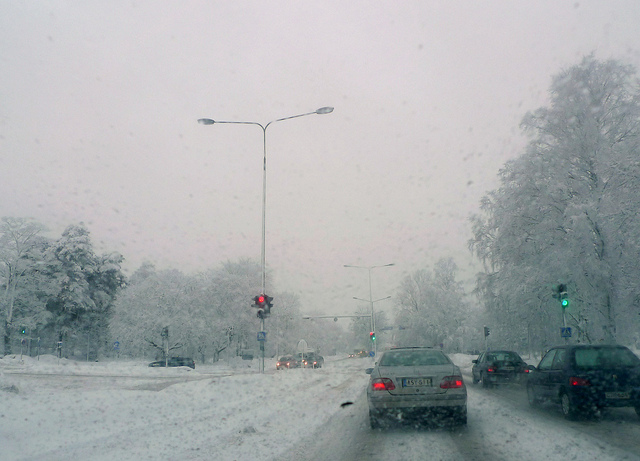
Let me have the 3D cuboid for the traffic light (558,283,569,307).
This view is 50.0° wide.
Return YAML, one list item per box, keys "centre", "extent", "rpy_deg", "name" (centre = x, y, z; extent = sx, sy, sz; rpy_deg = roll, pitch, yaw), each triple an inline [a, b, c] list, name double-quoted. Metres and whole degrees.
- centre: [12.541, 3.336, 35.240]
  extent: [0.556, 1.190, 0.613]
  rpy_deg: [4, -27, 6]
  name: "traffic light"

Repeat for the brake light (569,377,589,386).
- centre: [9.370, 5.454, 24.812]
  extent: [0.655, 0.307, 0.114]
  rpy_deg: [-1, 0, 21]
  name: "brake light"

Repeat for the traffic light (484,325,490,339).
- centre: [11.032, 6.523, 45.287]
  extent: [0.325, 0.754, 1.589]
  rpy_deg: [0, -1, 13]
  name: "traffic light"

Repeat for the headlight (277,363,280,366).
- centre: [-3.250, 10.485, 53.941]
  extent: [0.218, 0.135, 0.235]
  rpy_deg: [-6, -12, 29]
  name: "headlight"

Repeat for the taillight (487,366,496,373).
- centre: [7.926, 6.398, 31.752]
  extent: [0.234, 0.252, 0.173]
  rpy_deg: [4, -3, 5]
  name: "taillight"

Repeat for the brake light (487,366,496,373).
- centre: [7.943, 6.413, 31.740]
  extent: [0.377, 0.295, 0.099]
  rpy_deg: [-1, 0, 27]
  name: "brake light"

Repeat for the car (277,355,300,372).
- centre: [-2.347, 10.157, 52.384]
  extent: [1.211, 1.135, 2.220]
  rpy_deg: [-3, -20, 7]
  name: "car"

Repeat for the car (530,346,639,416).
- centre: [9.806, 5.509, 25.247]
  extent: [3.499, 2.472, 1.528]
  rpy_deg: [-1, 0, 26]
  name: "car"
